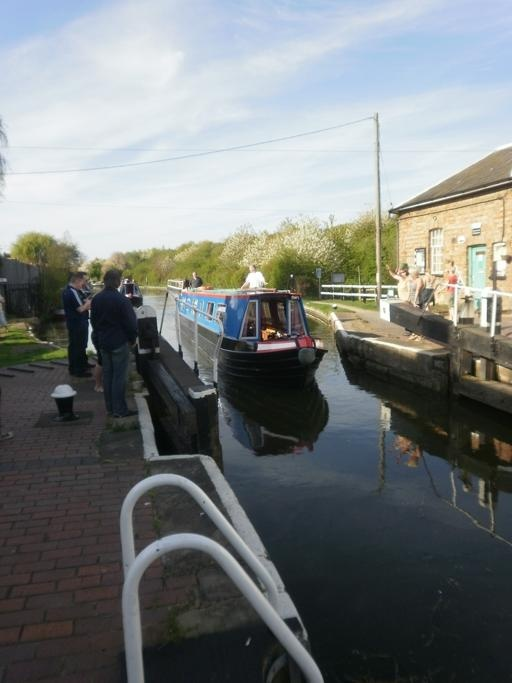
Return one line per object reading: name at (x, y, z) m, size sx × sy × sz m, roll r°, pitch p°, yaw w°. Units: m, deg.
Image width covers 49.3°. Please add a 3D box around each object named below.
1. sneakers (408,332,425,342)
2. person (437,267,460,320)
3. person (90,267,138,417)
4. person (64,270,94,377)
sneakers at (3.716, -0.088, 12.910) m, size 0.218 × 0.282 × 0.663 m, roll -1°, pitch -1°, yaw 15°
person at (5.037, -1.239, 14.687) m, size 0.494 × 1.335 × 0.450 m, roll 8°, pitch 13°, yaw 25°
person at (-1.611, 0.013, 6.333) m, size 0.502 × 1.654 × 0.811 m, roll -2°, pitch 7°, yaw -16°
person at (-2.690, -0.225, 8.421) m, size 0.363 × 1.635 × 1.502 m, roll -2°, pitch 7°, yaw -17°
